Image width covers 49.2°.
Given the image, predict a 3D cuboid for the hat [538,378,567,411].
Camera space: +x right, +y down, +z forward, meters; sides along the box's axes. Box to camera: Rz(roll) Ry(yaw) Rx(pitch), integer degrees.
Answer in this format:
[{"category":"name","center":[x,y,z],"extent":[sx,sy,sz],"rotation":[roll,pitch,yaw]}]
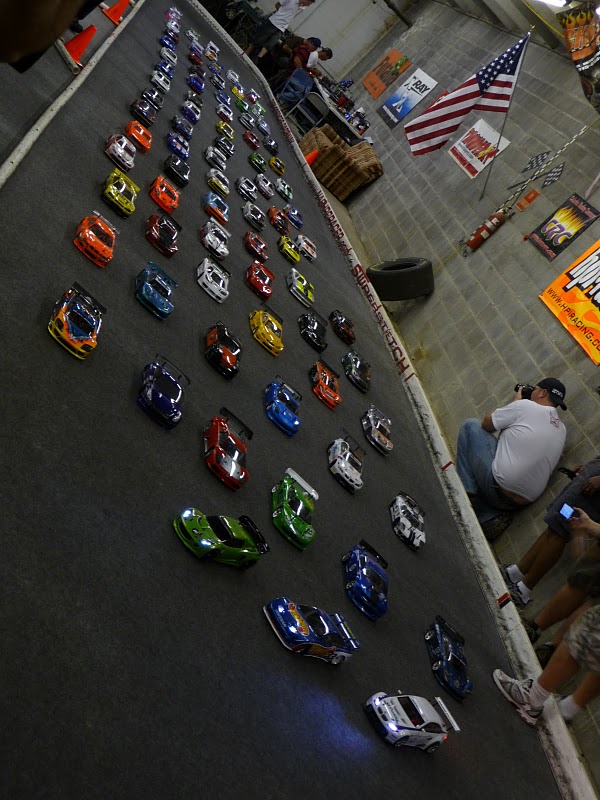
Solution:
[{"category":"hat","center":[2.377,-0.028,6.199],"extent":[0.188,0.153,0.313],"rotation":[20,20,-23]}]

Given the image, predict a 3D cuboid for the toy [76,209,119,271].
[{"category":"toy","center":[-1.204,-0.935,3.893],"extent":[0.261,0.142,0.303],"rotation":[31,27,-25]}]

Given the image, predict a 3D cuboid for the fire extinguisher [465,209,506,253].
[{"category":"fire extinguisher","center":[2.436,-2.177,8.695],"extent":[0.246,0.735,0.178],"rotation":[46,25,16]}]

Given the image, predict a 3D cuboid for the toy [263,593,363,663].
[{"category":"toy","center":[0.079,1.146,3.237],"extent":[0.463,0.147,0.309],"rotation":[30,14,-46]}]

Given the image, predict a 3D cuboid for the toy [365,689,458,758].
[{"category":"toy","center":[0.573,1.681,3.407],"extent":[0.514,0.186,0.298],"rotation":[28,25,-41]}]

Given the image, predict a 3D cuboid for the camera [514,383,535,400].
[{"category":"camera","center":[2.258,-0.067,6.548],"extent":[0.169,0.174,0.138],"rotation":[-12,77,-19]}]

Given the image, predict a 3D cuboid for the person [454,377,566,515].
[{"category":"person","center":[2.001,0.478,6.151],"extent":[0.690,1.249,0.683],"rotation":[34,-11,-15]}]

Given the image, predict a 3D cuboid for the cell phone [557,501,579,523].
[{"category":"cell phone","center":[2.087,0.891,5.118],"extent":[0.149,0.036,0.134],"rotation":[-39,67,-22]}]

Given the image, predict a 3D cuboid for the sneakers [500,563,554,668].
[{"category":"sneakers","center":[1.790,1.671,5.222],"extent":[0.227,0.616,0.196],"rotation":[2,6,7]}]

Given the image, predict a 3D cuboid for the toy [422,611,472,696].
[{"category":"toy","center":[0.905,1.567,4.033],"extent":[0.244,0.115,0.408],"rotation":[21,44,-32]}]

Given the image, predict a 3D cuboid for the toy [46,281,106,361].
[{"category":"toy","center":[-1.161,-0.411,3.393],"extent":[0.226,0.110,0.384],"rotation":[46,24,-38]}]
